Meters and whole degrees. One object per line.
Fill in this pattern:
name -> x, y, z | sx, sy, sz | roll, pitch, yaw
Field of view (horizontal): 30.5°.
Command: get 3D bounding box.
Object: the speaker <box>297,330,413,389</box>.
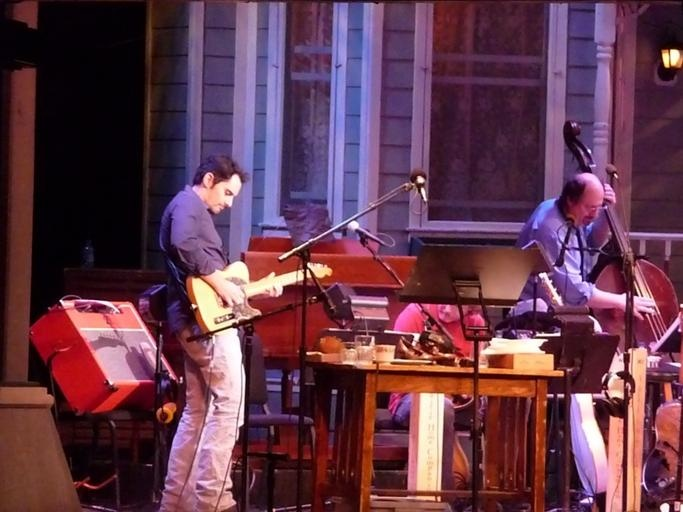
speaker -> 0.050, 0.611, 8.325 | 0.558, 0.308, 0.420 | 4, -15, -23

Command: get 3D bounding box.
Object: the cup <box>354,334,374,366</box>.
cup -> 0.156, 0.611, 8.069 | 0.137, 0.186, 0.148 | 0, -1, 0

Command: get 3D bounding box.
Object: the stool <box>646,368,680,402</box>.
stool -> 2.383, 0.961, 9.284 | 0.216, 0.234, 0.492 | 0, -5, 15

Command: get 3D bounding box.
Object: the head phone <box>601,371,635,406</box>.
head phone -> 1.948, 0.928, 8.769 | 0.215, 0.238, 0.374 | 0, -5, 13

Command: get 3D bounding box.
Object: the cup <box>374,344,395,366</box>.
cup -> 0.275, 0.641, 8.097 | 0.105, 0.086, 0.095 | -4, -8, 18

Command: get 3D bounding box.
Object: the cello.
cello -> 2.280, 0.057, 9.496 | 0.715, 2.051, 0.296 | -14, 4, -18

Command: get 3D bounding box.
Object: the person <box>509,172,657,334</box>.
person -> 1.800, -0.084, 9.756 | 1.180, 2.098, 0.867 | 0, 11, 6

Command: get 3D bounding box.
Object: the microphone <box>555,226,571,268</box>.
microphone -> 1.702, -0.080, 9.575 | 0.122, 0.339, 0.460 | 0, -5, 10

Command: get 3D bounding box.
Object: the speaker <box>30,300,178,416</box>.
speaker -> -1.807, 0.796, 9.574 | 0.451, 0.778, 0.618 | -39, -17, 31

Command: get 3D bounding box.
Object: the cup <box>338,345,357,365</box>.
cup -> 0.045, 0.648, 8.103 | 0.096, 0.109, 0.106 | 0, -10, 0

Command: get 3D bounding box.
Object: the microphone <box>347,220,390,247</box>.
microphone -> 0.219, -0.187, 10.601 | 0.387, 0.140, 0.132 | 33, -3, 6
